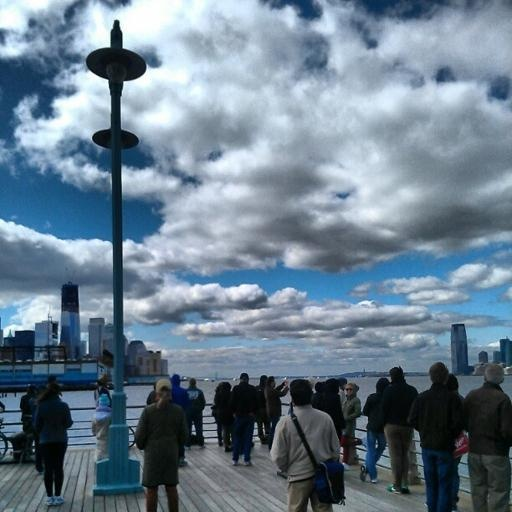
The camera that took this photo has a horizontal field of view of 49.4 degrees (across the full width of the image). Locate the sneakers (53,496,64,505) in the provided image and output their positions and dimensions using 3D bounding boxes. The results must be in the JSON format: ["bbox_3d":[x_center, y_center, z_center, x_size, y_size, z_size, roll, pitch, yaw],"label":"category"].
[{"bbox_3d":[-2.935,3.553,8.302,0.111,0.114,0.207,-4,-9,11],"label":"sneakers"}]

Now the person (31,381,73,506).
[{"bbox_3d":[-3.047,2.752,8.341,0.524,1.712,0.428,1,-8,-22],"label":"person"}]

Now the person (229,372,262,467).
[{"bbox_3d":[-0.232,3.164,10.921,0.500,1.676,0.628,-2,-8,-1],"label":"person"}]

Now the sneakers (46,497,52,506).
[{"bbox_3d":[-3.052,3.536,8.211,0.116,0.105,0.064,-2,-8,0],"label":"sneakers"}]

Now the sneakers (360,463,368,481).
[{"bbox_3d":[1.834,3.640,9.540,0.107,0.343,0.140,-2,-2,7],"label":"sneakers"}]

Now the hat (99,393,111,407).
[{"bbox_3d":[-2.671,2.510,9.805,0.246,0.246,0.184,-6,-9,43],"label":"hat"}]

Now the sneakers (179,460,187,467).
[{"bbox_3d":[-1.439,3.989,10.897,0.171,0.130,0.065,5,-8,-32],"label":"sneakers"}]
